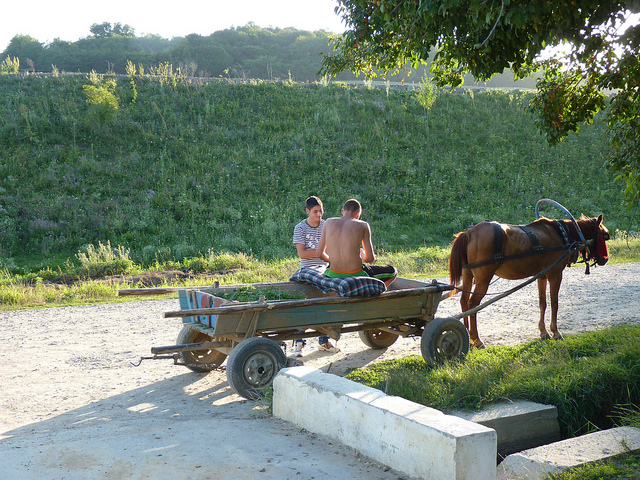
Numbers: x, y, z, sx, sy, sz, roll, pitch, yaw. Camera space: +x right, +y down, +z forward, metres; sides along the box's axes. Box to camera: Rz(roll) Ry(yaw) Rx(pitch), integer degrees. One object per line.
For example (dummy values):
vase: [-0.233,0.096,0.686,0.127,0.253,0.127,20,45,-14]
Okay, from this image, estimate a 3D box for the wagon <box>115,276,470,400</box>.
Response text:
wagon: [-0.409,1.874,18.851,6.055,2.184,2.043,-5,14,-10]
